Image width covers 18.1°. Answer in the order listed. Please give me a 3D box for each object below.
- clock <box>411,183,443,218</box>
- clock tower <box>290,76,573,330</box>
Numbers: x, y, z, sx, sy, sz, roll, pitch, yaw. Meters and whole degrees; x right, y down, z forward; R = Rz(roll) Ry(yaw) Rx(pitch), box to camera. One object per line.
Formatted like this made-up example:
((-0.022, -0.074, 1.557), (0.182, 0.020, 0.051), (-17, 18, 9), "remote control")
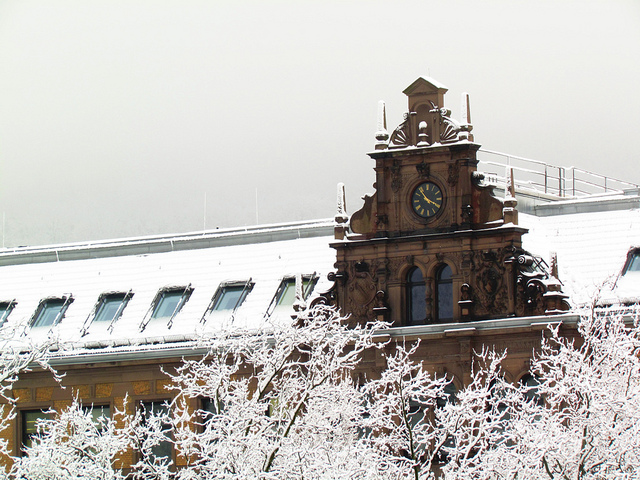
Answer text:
((3.398, -1.198, 62.179), (0.923, 0.993, 0.065), (-5, -12, 27), "clock")
((3.162, -0.921, 62.026), (9.401, 1.307, 7.548), (-4, -79, -15), "clock tower")
